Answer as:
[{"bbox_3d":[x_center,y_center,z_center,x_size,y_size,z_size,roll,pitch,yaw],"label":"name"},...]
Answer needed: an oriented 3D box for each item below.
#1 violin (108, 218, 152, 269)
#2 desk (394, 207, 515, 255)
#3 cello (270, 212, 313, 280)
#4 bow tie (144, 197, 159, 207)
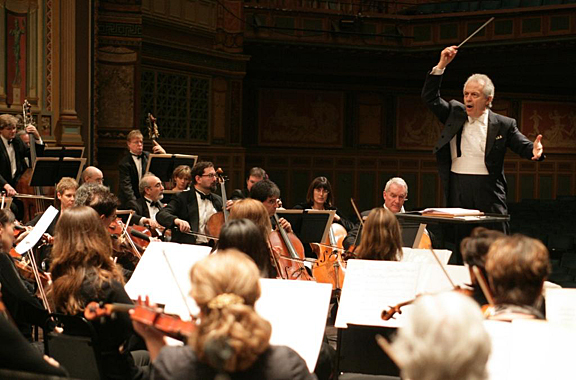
[{"bbox_3d":[-1.698,0.585,6.523,0.119,0.580,0.237,-29,14,37],"label":"violin"},{"bbox_3d":[1.527,0.387,5.745,0.816,0.444,0.688,3,10,-24],"label":"desk"},{"bbox_3d":[-0.006,0.637,6.879,0.381,0.786,0.440,-1,11,-17],"label":"cello"},{"bbox_3d":[-1.948,0.181,8.756,0.129,0.054,0.136,22,1,14],"label":"bow tie"}]
